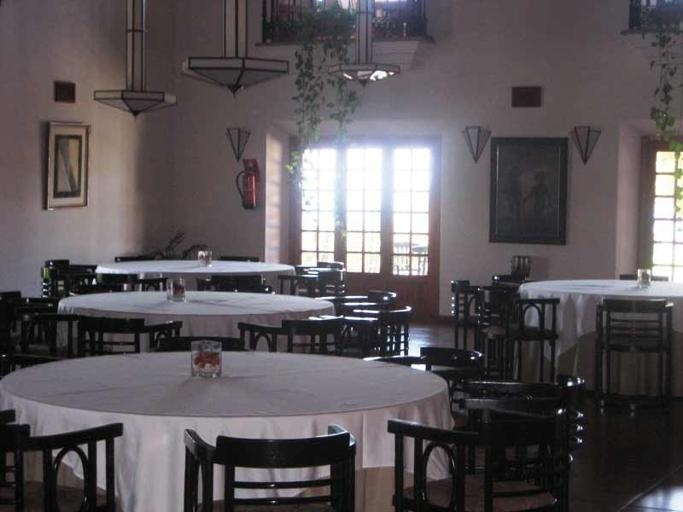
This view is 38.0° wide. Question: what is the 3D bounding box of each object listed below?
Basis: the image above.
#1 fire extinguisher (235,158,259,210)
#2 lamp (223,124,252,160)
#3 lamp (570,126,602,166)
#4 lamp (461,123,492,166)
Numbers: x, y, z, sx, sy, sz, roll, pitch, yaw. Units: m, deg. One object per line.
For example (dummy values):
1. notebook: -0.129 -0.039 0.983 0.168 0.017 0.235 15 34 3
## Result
1. fire extinguisher: -1.222 -0.928 12.931 0.307 0.660 0.167 0 2 -5
2. lamp: -1.311 -1.474 12.994 0.397 0.460 0.347 0 0 3
3. lamp: 2.904 -1.324 11.958 0.369 0.408 0.413 0 -3 -1
4. lamp: 1.667 -1.393 12.197 0.375 0.387 0.373 -3 0 26
